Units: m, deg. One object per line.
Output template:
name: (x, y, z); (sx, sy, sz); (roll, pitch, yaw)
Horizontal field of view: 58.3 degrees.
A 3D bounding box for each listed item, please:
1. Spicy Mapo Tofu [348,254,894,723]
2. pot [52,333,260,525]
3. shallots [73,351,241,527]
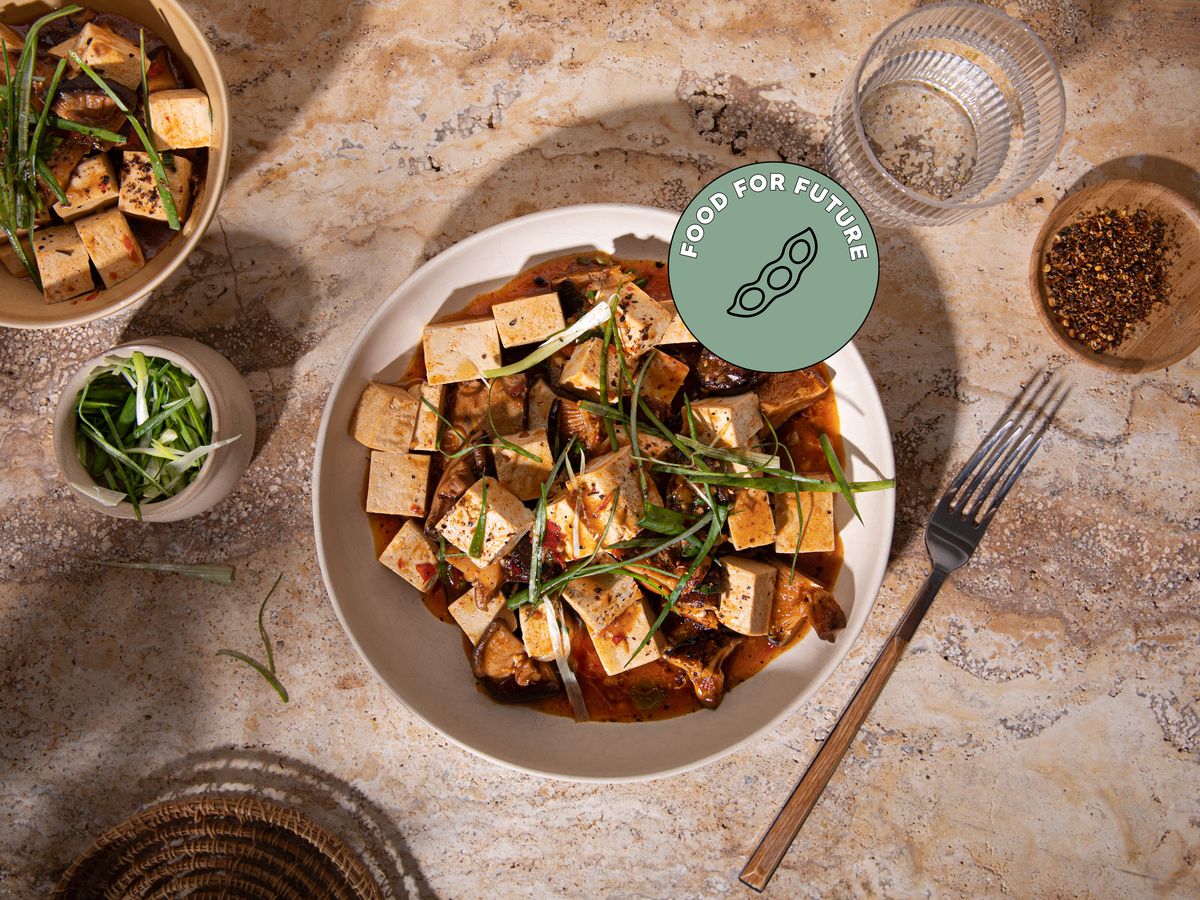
Spicy Mapo Tofu: (0.020, 0.160, 3.742); (1.737, 0.429, 1.548); (25, 85, 4)
pot: (-1.598, -0.075, 3.945); (0.667, 0.401, 0.598); (-38, 84, -3)
shallots: (-1.619, -0.123, 4.067); (0.637, 0.344, 0.594); (-44, 100, 1)
